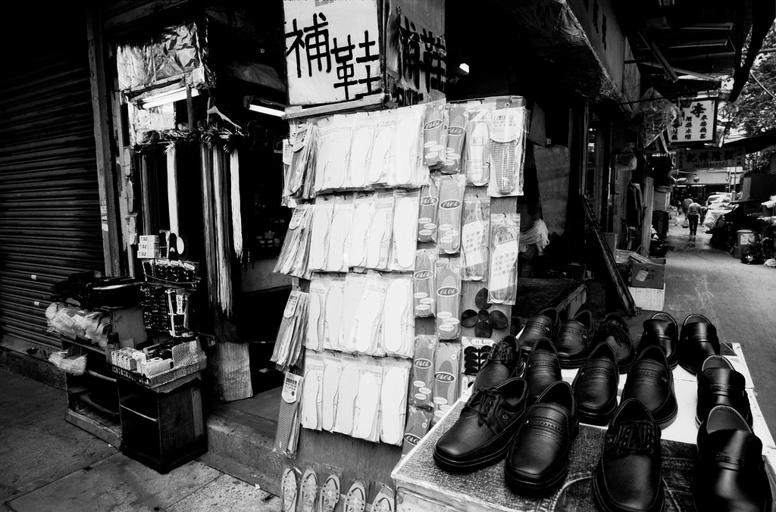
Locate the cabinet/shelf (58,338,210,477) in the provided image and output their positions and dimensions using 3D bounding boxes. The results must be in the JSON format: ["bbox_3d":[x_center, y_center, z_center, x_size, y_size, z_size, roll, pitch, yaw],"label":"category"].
[{"bbox_3d":[-3.241,1.651,7.141,1.752,1.289,0.668,7,4,29],"label":"cabinet/shelf"}]
